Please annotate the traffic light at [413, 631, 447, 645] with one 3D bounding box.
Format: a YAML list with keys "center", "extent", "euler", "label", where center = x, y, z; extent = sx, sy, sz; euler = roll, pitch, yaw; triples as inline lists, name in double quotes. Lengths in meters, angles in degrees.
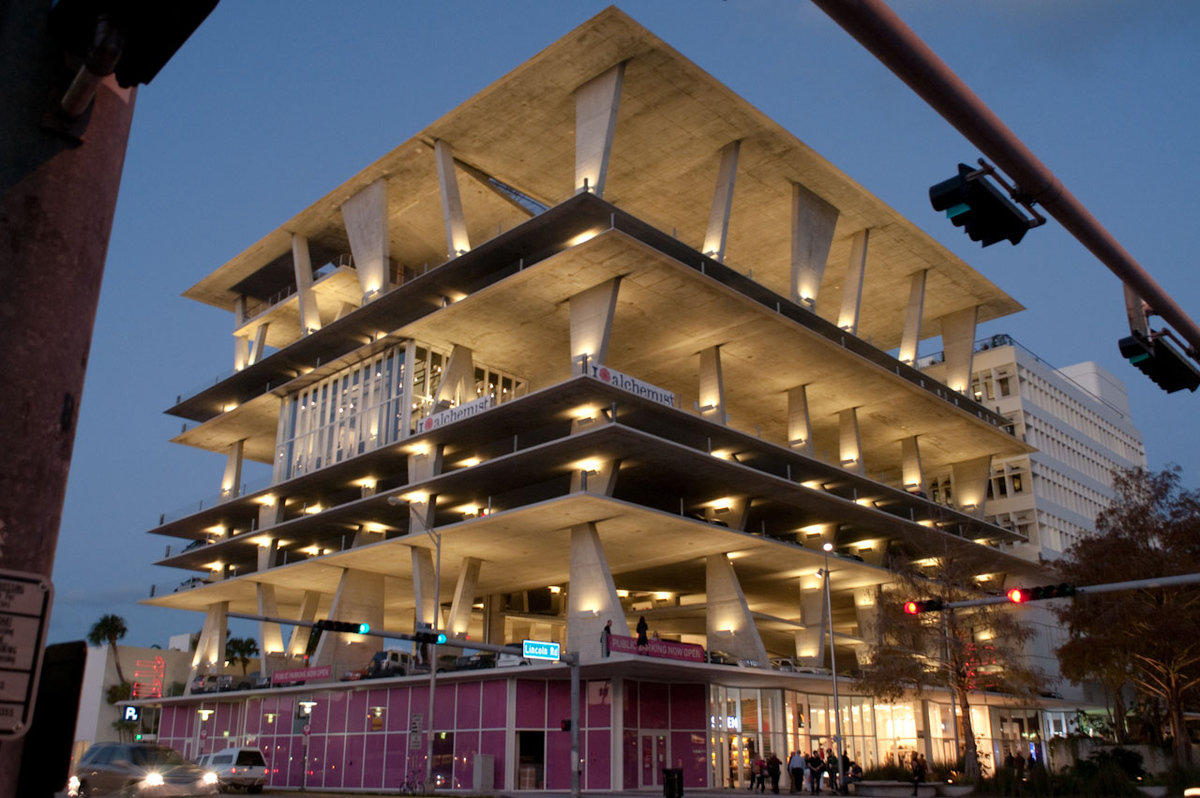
- center: [-5.585, 7.851, 30.035]
  extent: [1.272, 0.469, 1.167]
  euler: [1, -15, -4]
  label: "traffic light"

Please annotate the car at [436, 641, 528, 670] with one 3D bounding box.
- center: [-6.726, 14.247, 49.376]
  extent: [2.446, 1.340, 7.340]
  euler: [17, -29, -35]
  label: "car"

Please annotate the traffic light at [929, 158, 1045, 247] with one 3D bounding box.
- center: [3.944, -1.826, 9.165]
  extent: [0.949, 1.017, 0.733]
  euler: [20, -32, -39]
  label: "traffic light"

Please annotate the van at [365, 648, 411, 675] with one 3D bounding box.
- center: [-12.270, 15.260, 52.457]
  extent: [1.545, 1.228, 2.365]
  euler: [-8, -27, 15]
  label: "van"
